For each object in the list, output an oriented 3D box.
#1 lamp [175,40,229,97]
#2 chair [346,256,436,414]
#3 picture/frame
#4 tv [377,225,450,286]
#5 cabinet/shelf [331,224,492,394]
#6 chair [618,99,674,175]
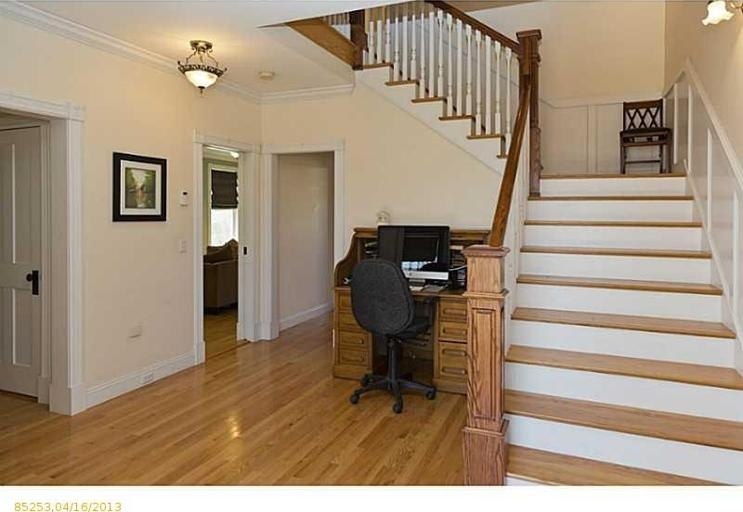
[{"bbox_3d":[-1.727,-1.923,5.368,0.435,0.439,0.418,5,13,6],"label":"lamp"},{"bbox_3d":[0.212,0.740,5.425,0.939,1.404,0.896,0,2,31],"label":"chair"},{"bbox_3d":[-2.414,-0.719,5.429,0.064,0.946,0.807,4,3,32],"label":"picture/frame"},{"bbox_3d":[0.476,0.011,5.650,0.663,0.498,0.068,2,-7,20],"label":"tv"},{"bbox_3d":[0.408,0.547,5.267,1.841,1.723,0.983,0,1,23],"label":"cabinet/shelf"},{"bbox_3d":[3.326,-1.472,6.417,0.572,0.891,0.691,5,11,23],"label":"chair"}]
